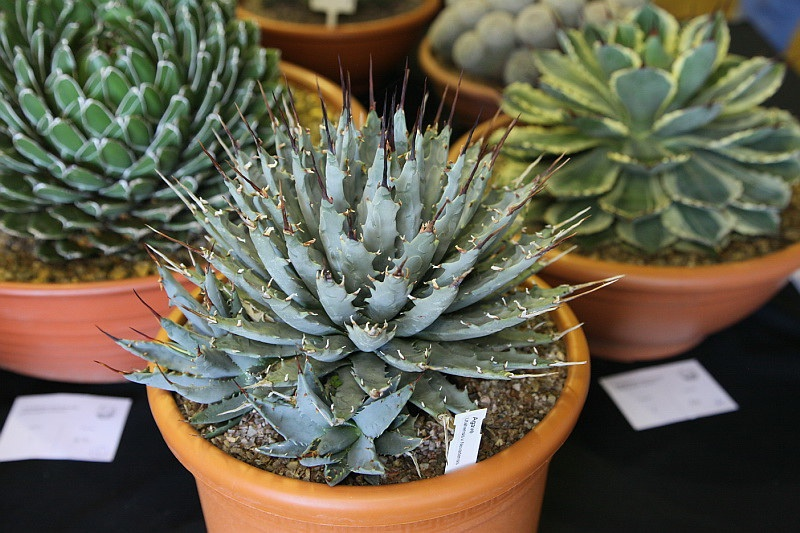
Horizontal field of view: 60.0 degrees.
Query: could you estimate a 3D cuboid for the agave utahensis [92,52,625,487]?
[{"bbox_3d":[-0.051,0.118,1.449,0.798,0.483,0.783,-31,56,-33],"label":"agave utahensis"}]
